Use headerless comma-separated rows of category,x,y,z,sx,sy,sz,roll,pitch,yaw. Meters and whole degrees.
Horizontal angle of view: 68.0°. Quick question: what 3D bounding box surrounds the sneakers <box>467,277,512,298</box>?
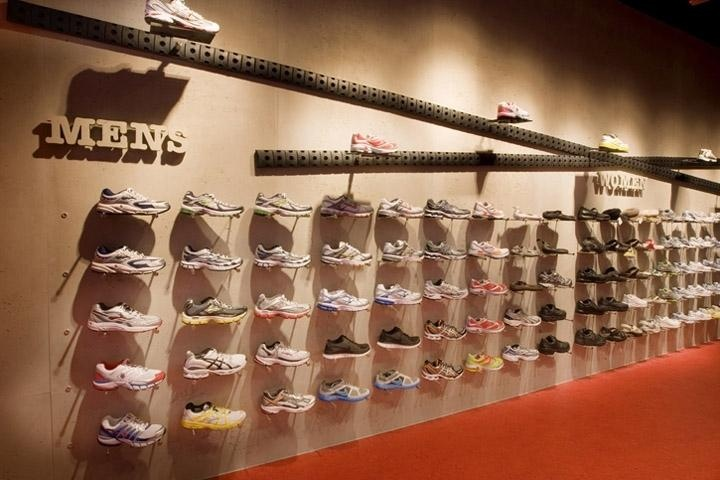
sneakers,1.504,0.574,6.459,0.380,0.155,0.213,5,-3,-7

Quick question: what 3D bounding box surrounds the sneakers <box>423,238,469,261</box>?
sneakers,0.952,0.116,6.167,0.570,0.264,0.209,3,3,-15

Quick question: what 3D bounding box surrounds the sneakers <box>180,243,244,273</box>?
sneakers,-1.518,0.189,5.458,0.648,0.299,0.238,4,-1,-9

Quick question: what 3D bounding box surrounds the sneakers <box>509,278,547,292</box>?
sneakers,2.136,0.555,6.762,0.476,0.178,0.185,-2,-3,0

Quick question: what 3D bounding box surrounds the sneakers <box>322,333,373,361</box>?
sneakers,-0.171,1.187,5.855,0.562,0.247,0.224,1,-3,-10

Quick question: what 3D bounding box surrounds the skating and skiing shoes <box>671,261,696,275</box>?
skating and skiing shoes,4.886,0.430,8.127,0.443,0.184,0.220,2,0,-19

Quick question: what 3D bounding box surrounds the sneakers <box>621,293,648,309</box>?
sneakers,3.910,0.870,7.612,0.311,0.134,0.207,1,4,-20

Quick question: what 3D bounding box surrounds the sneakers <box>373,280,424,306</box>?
sneakers,0.392,0.615,5.943,0.593,0.260,0.218,2,-2,-12

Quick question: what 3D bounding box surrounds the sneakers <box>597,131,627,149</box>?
sneakers,3.431,-1.315,7.256,0.361,0.221,0.238,7,15,24

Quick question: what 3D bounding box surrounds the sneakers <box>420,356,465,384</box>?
sneakers,0.919,1.533,6.297,0.541,0.254,0.220,2,8,-11

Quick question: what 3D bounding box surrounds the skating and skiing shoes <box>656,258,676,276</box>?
skating and skiing shoes,4.540,0.423,7.943,0.320,0.143,0.167,2,0,-37

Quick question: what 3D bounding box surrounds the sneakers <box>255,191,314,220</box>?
sneakers,-0.832,-0.346,5.646,0.618,0.293,0.231,2,4,-16

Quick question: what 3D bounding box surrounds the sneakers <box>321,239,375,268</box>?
sneakers,-0.175,0.165,5.864,0.593,0.298,0.233,3,-1,-11

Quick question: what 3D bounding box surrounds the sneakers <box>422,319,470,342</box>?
sneakers,0.946,1.053,6.230,0.561,0.267,0.205,2,6,-9

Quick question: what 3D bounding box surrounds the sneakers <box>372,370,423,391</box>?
sneakers,0.404,1.583,6.075,0.461,0.189,0.218,3,-6,-6

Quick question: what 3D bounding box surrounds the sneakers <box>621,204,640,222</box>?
sneakers,3.768,-0.384,7.495,0.207,0.082,0.213,-8,22,16

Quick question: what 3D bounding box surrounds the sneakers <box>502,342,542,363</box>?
sneakers,1.975,1.413,6.680,0.503,0.219,0.198,2,-2,-10

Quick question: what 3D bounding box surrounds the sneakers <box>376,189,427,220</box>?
sneakers,0.424,-0.387,5.966,0.562,0.274,0.216,1,0,-12

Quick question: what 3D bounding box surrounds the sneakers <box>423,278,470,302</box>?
sneakers,0.944,0.598,6.201,0.573,0.272,0.213,2,-1,-9

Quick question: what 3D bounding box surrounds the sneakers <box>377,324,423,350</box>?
sneakers,0.419,1.122,6.094,0.530,0.249,0.211,2,-4,-7

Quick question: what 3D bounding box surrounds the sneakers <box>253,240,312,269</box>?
sneakers,-0.845,0.174,5.646,0.627,0.274,0.234,2,1,-9

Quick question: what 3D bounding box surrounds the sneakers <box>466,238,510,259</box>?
sneakers,1.505,0.090,6.458,0.518,0.216,0.216,5,1,-8

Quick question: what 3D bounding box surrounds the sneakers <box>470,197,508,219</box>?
sneakers,1.531,-0.373,6.409,0.416,0.199,0.181,2,2,-16

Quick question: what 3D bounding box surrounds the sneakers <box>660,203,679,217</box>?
sneakers,4.544,-0.430,7.884,0.269,0.111,0.176,9,18,41

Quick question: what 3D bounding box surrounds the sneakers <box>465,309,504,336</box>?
sneakers,1.498,0.994,6.481,0.417,0.185,0.235,3,1,-6

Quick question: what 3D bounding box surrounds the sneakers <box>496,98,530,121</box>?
sneakers,1.883,-1.559,6.425,0.470,0.204,0.203,1,4,-19

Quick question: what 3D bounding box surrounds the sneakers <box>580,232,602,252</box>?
sneakers,3.109,0.059,7.209,0.277,0.140,0.179,3,8,-3

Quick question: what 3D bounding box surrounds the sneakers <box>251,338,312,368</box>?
sneakers,-0.838,1.196,5.659,0.614,0.270,0.240,3,0,-6

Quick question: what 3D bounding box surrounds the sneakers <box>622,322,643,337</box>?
sneakers,3.827,1.285,7.595,0.295,0.121,0.164,14,14,9

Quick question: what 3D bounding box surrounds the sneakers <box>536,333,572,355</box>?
sneakers,2.499,1.375,6.965,0.416,0.248,0.207,-2,14,-10

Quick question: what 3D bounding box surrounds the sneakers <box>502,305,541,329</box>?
sneakers,1.970,0.975,6.688,0.518,0.244,0.227,4,0,-8

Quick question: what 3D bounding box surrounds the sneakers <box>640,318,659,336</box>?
sneakers,4.227,1.270,7.781,0.357,0.154,0.188,4,2,-28

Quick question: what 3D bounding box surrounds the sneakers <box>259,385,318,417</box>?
sneakers,-0.755,1.661,5.556,0.604,0.290,0.244,1,-4,-11

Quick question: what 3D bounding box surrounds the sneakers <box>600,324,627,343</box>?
sneakers,3.464,1.292,7.377,0.338,0.137,0.194,12,17,-3

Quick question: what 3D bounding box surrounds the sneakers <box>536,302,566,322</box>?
sneakers,2.456,0.942,6.916,0.381,0.180,0.172,0,2,-29

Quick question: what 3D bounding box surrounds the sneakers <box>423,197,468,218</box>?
sneakers,1.005,-0.370,6.257,0.530,0.215,0.209,4,3,-15

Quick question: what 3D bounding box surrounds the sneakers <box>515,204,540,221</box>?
sneakers,2.048,-0.345,6.703,0.462,0.217,0.154,-4,14,-21

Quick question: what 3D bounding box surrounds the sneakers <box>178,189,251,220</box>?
sneakers,-1.483,-0.363,5.399,0.671,0.293,0.231,3,0,-20

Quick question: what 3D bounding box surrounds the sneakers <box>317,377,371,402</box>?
sneakers,-0.190,1.628,5.866,0.546,0.241,0.232,4,-8,-7

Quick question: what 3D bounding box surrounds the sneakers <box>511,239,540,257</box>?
sneakers,2.101,0.108,6.767,0.337,0.127,0.188,3,4,-21

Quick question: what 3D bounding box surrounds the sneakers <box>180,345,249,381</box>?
sneakers,-1.491,1.241,5.437,0.608,0.267,0.277,0,-1,-15

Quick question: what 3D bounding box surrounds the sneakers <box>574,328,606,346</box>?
sneakers,3.084,1.306,7.229,0.387,0.184,0.216,5,5,15

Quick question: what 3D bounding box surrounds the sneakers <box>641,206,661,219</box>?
sneakers,4.168,-0.378,7.711,0.230,0.141,0.493,10,17,32

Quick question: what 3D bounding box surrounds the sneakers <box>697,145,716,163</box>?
sneakers,5.378,-1.314,8.274,0.471,0.223,0.181,1,7,-39

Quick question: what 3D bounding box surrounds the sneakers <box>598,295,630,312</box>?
sneakers,3.527,0.872,7.328,0.487,0.214,0.182,4,0,11

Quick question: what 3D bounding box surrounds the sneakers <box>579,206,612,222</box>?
sneakers,3.077,-0.350,7.130,0.495,0.204,0.183,0,2,-9

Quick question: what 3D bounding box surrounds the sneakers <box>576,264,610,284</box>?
sneakers,3.084,0.484,7.177,0.436,0.207,0.179,2,1,5

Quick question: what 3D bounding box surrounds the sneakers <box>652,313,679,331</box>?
sneakers,4.525,1.236,7.978,0.388,0.170,0.169,2,0,3

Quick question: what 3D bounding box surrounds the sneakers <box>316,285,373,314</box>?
sneakers,-0.216,0.659,5.837,0.635,0.255,0.232,3,-1,-12

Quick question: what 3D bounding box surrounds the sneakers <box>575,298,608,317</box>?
sneakers,3.069,0.904,7.195,0.419,0.207,0.178,6,-1,-4

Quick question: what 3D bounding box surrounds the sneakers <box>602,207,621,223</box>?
sneakers,3.430,-0.341,7.277,0.197,0.152,0.254,4,10,24

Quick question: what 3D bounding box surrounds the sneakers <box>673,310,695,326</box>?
sneakers,4.898,1.187,8.154,0.381,0.167,0.180,5,8,1

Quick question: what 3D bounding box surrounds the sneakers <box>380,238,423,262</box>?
sneakers,0.445,0.137,6.081,0.508,0.261,0.197,2,1,-17

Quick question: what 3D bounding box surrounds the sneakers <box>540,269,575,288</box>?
sneakers,2.490,0.497,6.882,0.448,0.214,0.184,4,-1,-1

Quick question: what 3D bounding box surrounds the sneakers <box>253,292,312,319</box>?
sneakers,-0.831,0.693,5.635,0.615,0.271,0.240,2,1,-12

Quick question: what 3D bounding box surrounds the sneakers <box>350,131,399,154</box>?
sneakers,0.139,-1.042,5.740,0.487,0.203,0.193,1,4,-17

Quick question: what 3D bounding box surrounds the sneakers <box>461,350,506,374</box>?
sneakers,1.493,1.476,6.452,0.457,0.189,0.228,2,-3,-12

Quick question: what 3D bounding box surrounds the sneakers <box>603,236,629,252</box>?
sneakers,3.498,0.059,7.347,0.429,0.163,0.162,4,6,-28
